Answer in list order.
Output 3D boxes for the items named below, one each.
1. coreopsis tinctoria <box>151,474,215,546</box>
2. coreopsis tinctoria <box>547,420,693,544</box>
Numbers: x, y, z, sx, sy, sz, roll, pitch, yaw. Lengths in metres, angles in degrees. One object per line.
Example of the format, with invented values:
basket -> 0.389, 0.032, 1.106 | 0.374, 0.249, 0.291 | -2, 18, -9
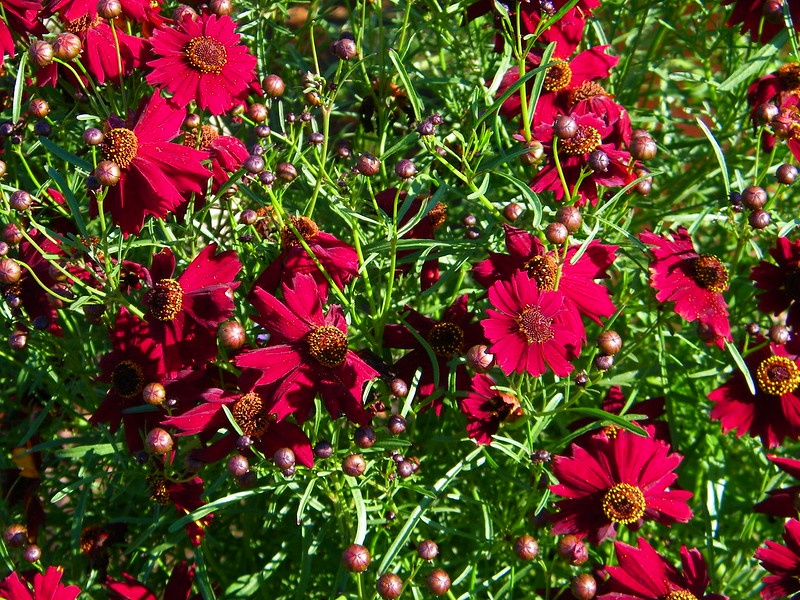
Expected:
coreopsis tinctoria -> -0.309, 0.284, 1.215 | 0.034, 0.092, 0.105 | -7, 68, -33
coreopsis tinctoria -> 0.297, 0.255, 1.175 | 0.195, 0.069, 0.137 | -7, 67, -11
